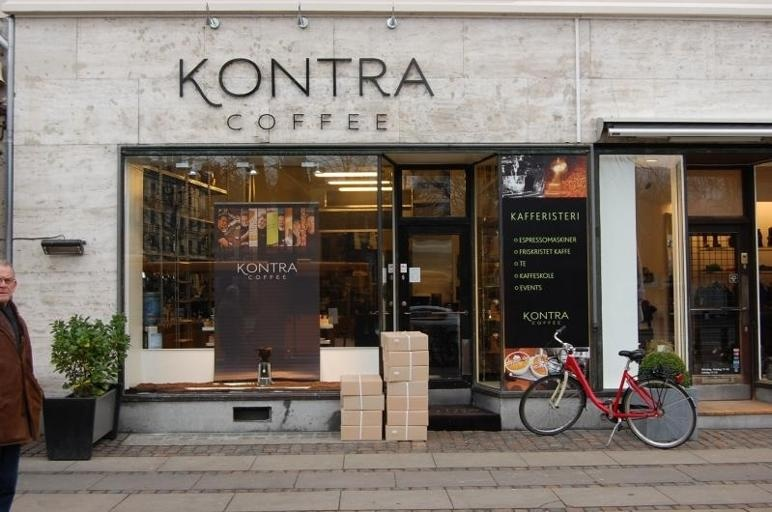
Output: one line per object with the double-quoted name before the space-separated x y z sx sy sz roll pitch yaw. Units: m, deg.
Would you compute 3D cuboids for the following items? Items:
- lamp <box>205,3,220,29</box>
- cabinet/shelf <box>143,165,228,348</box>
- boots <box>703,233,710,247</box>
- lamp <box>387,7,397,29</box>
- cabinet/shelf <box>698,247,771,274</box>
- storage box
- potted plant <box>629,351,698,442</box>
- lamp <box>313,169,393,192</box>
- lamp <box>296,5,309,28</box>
"lamp" -2.674 -3.700 13.054 0.222 0.383 0.089 -2 16 -4
"cabinet/shelf" -3.189 0.014 13.137 1.189 2.691 0.763 -1 16 1
"boots" 5.300 -0.269 13.956 0.106 0.218 0.068 2 16 12
"lamp" 0.087 -3.682 13.120 0.177 0.315 0.075 -1 16 0
"cabinet/shelf" 5.719 0.039 13.955 1.328 0.452 0.191 -1 15 -1
"storage box" -0.022 1.955 12.524 1.288 1.459 0.622 -1 15 -2
"potted plant" 4.050 2.084 12.347 0.937 1.196 0.821 8 17 30
"lamp" -0.621 -1.179 13.216 0.961 0.321 0.104 0 16 3
"lamp" -1.296 -3.706 13.079 0.177 0.382 0.091 -2 16 -4
